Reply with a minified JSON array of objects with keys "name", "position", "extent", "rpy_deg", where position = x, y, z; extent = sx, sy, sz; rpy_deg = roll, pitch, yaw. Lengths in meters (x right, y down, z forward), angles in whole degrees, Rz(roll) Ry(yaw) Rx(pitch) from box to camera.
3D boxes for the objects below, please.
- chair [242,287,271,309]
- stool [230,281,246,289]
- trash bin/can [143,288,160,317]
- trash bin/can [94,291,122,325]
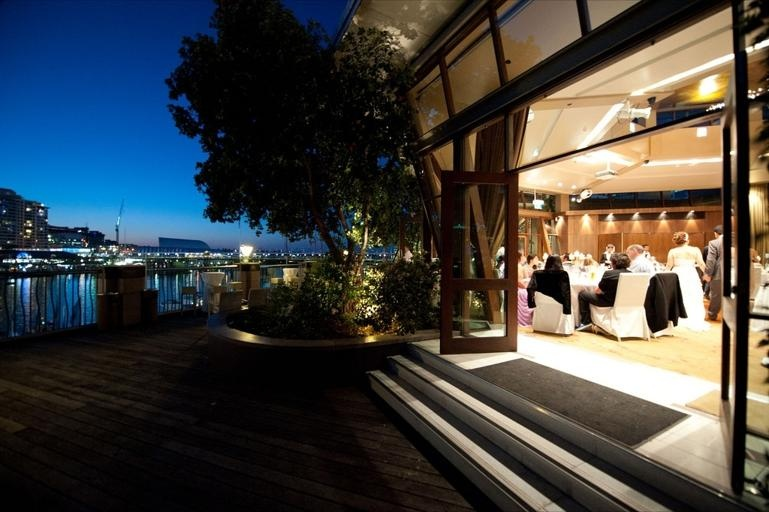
[{"name":"chair","position":[-2.617,0.890,9.545],"extent":[0.422,0.584,0.487],"rpy_deg":[-3,15,-38]},{"name":"stool","position":[-3.640,0.679,11.366],"extent":[0.253,0.152,0.250],"rpy_deg":[0,-2,-8]},{"name":"trash bin/can","position":[-5.456,1.126,10.854],"extent":[0.198,0.728,0.371],"rpy_deg":[0,15,11]},{"name":"trash bin/can","position":[-6.163,1.205,10.423],"extent":[0.517,0.840,0.513],"rpy_deg":[3,10,-16]}]
